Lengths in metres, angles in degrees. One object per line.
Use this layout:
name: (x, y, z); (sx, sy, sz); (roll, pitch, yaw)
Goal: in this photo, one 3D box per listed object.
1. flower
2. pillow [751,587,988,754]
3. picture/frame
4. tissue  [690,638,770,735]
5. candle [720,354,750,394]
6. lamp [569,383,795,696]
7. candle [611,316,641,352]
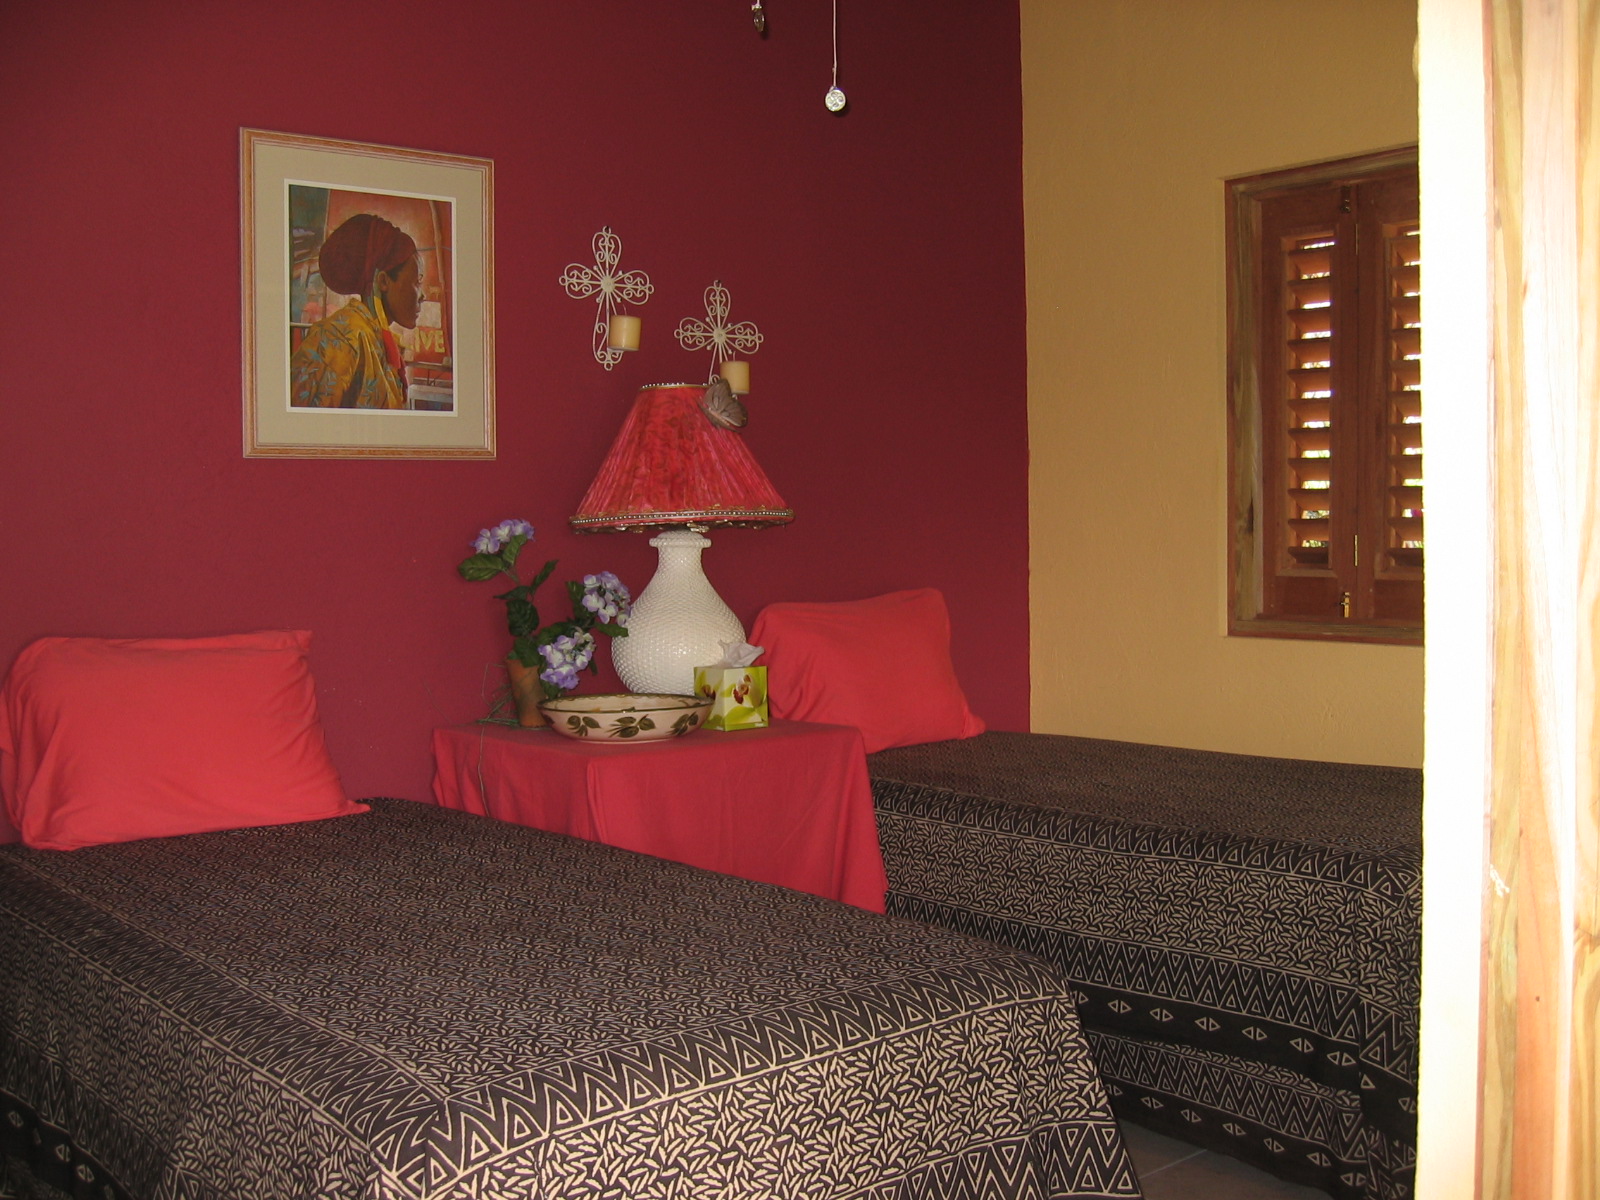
flower: (-0.720, 0.023, 3.400); (0.453, 0.499, 0.322); (-1, 4, -22)
pillow: (0.217, 0.239, 3.877); (0.676, 0.479, 0.353); (-6, 9, -24)
picture/frame: (-1.175, -0.812, 3.208); (0.843, 1.127, 0.055); (-1, 0, -39)
tissue : (-0.159, 0.222, 3.368); (0.146, 0.253, 0.156); (0, -2, -20)
candle: (-0.200, -0.696, 3.759); (0.105, 0.137, 0.110); (-4, 10, -20)
lamp: (-0.360, -0.161, 3.645); (0.631, 0.976, 0.650); (-4, 7, -36)
candle: (-0.522, -0.785, 3.600); (0.089, 0.101, 0.083); (0, 1, -16)
